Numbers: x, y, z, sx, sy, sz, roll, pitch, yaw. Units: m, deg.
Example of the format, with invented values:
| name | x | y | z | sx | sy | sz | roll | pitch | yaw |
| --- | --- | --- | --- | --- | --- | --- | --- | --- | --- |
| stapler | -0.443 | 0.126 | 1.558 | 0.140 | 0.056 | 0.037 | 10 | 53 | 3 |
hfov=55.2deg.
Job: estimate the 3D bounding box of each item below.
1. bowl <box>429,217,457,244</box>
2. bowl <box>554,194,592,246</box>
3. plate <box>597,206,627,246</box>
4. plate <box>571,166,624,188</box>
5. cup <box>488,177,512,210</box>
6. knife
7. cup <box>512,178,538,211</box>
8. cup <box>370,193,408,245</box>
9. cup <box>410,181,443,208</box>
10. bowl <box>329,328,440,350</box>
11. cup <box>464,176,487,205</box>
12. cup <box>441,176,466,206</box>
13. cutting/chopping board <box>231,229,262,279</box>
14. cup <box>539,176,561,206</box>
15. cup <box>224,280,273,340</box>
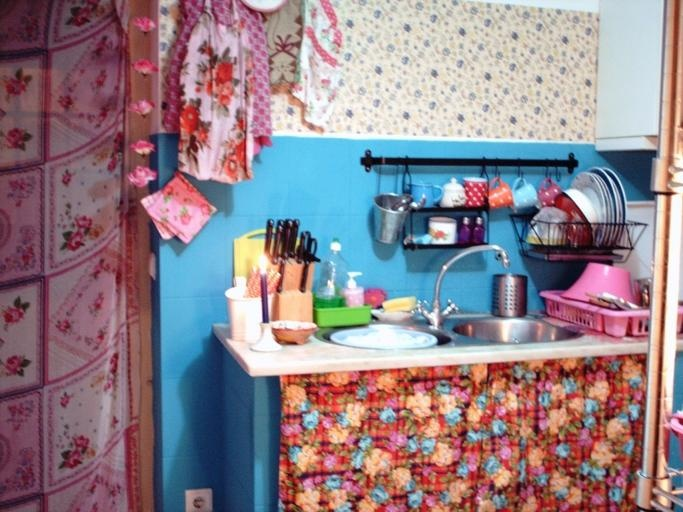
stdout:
| name | x | y | z | sx | sy | sz | roll | pitch | yaw |
| --- | --- | --- | --- | --- | --- | --- | --- | --- | --- |
| bowl | 0.431 | -0.108 | 2.795 | 0.115 | 0.118 | 0.057 | 1 | 1 | -1 |
| bowl | 0.975 | -0.159 | 2.783 | 0.174 | 0.236 | 0.128 | 2 | 1 | 34 |
| plate | 1.120 | -0.118 | 2.732 | 0.115 | 0.164 | 0.082 | 1 | 1 | 3 |
| plate | 1.109 | -0.325 | 2.802 | 0.098 | 0.123 | 0.266 | 0 | 2 | -26 |
| cup | 0.701 | -0.275 | 2.838 | 0.084 | 0.138 | 0.166 | 2 | 1 | 37 |
| knife | -0.198 | -0.001 | 2.559 | 0.215 | 0.275 | 0.113 | 1 | 1 | -9 |
| cup | 0.807 | -0.269 | 2.881 | 0.110 | 0.143 | 0.107 | 1 | 1 | 0 |
| cup | 0.189 | -0.175 | 2.736 | 0.152 | 0.190 | 0.186 | 11 | 16 | 2 |
| cup | 0.358 | -0.264 | 2.806 | 0.136 | 0.105 | 0.087 | 8 | 2 | -11 |
| bowl | 0.161 | 0.310 | 2.541 | 0.427 | 0.057 | 0.249 | 1 | 2 | -7 |
| cup | 0.572 | -0.281 | 2.790 | 0.096 | 0.119 | 0.104 | 1 | 2 | 0 |
| cup | 0.473 | -0.271 | 2.774 | 0.098 | 0.104 | 0.096 | 0 | 7 | 0 |
| cutting/chopping board | -0.387 | -0.001 | 2.620 | 0.174 | 0.223 | 0.026 | -1 | 9 | -14 |
| cup | 0.924 | -0.287 | 2.909 | 0.097 | 0.139 | 0.151 | 1 | 1 | 16 |
| cup | -0.335 | 0.200 | 2.381 | 0.154 | 0.180 | 0.167 | 1 | 2 | 0 |
